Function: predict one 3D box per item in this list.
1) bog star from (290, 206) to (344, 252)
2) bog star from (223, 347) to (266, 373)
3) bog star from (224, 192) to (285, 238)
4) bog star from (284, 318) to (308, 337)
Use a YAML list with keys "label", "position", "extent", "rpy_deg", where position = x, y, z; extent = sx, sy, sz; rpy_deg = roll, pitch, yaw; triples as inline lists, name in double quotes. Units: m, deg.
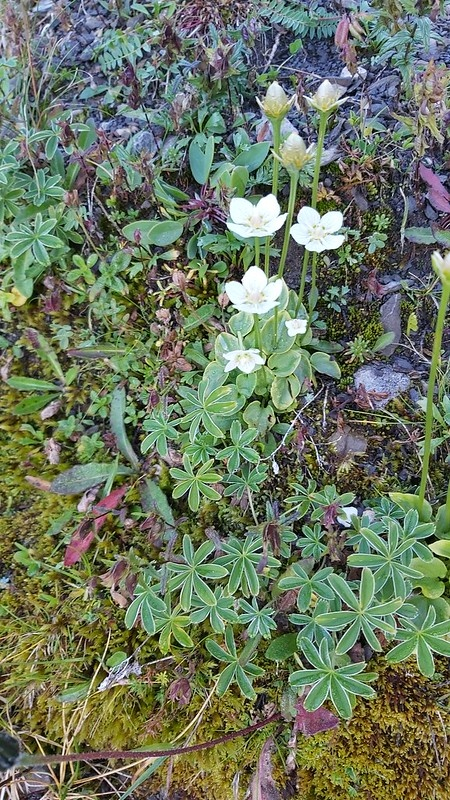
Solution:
- label: "bog star"
  position: [0.247, -0.461, 1.656]
  extent: [0.138, 0.106, 0.107]
  rpy_deg: [-1, 49, 3]
- label: "bog star"
  position: [0.055, -0.107, 1.678]
  extent: [0.086, 0.038, 0.091]
  rpy_deg: [-12, 88, 4]
- label: "bog star"
  position: [0.086, -0.478, 1.619]
  extent: [0.143, 0.086, 0.137]
  rpy_deg: [0, 50, 4]
- label: "bog star"
  position: [0.206, -0.209, 1.780]
  extent: [0.058, 0.029, 0.063]
  rpy_deg: [2, 54, 11]
